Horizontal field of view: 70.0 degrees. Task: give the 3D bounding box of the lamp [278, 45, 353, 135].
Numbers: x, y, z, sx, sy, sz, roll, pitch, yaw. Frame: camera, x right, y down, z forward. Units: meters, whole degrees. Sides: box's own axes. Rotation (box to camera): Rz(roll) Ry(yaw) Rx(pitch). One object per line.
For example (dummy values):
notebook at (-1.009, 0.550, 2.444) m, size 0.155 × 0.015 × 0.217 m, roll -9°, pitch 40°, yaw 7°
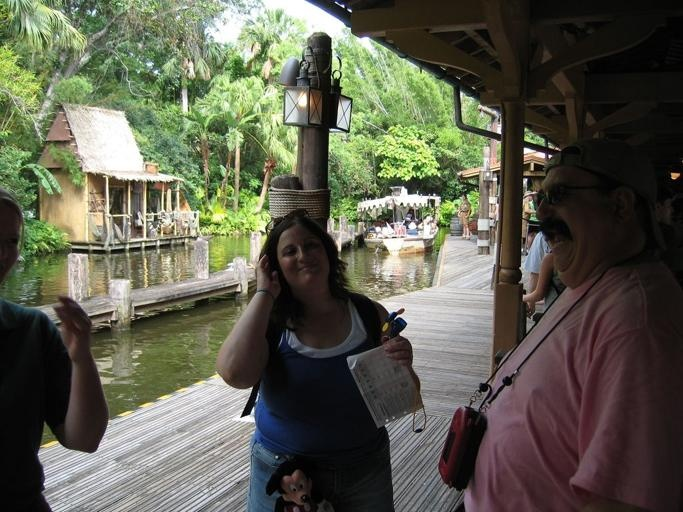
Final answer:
lamp at (-0.186, -1.221, 3.737) m, size 0.594 × 0.679 × 0.605 m, roll 6°, pitch 15°, yaw 16°
